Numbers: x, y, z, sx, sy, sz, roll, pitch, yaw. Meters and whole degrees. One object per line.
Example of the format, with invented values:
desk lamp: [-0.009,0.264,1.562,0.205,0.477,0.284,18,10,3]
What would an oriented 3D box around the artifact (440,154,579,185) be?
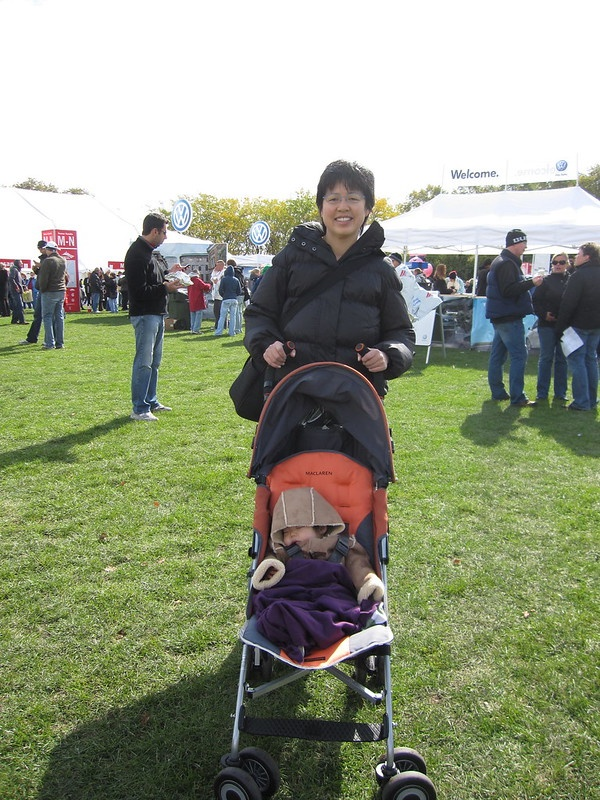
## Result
artifact: [8.276,-8.821,24.361,4.638,0.984,0.726,4,8,15]

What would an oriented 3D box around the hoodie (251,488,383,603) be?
hoodie: [0.045,0.550,2.615,0.371,0.140,0.425,-1,44,-7]

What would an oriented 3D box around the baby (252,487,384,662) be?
baby: [0.072,0.622,2.401,0.510,0.394,0.749,1,7,-5]

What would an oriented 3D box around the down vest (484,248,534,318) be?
down vest: [2.689,-1.465,8.028,0.558,0.936,0.387,4,8,16]
